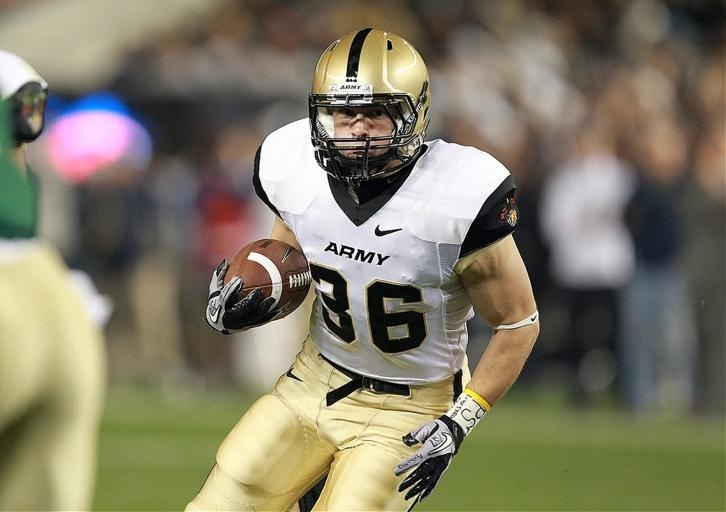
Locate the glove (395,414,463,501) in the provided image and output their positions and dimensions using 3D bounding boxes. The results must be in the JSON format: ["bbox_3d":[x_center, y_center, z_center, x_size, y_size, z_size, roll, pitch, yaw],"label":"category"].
[{"bbox_3d":[0.280,0.893,4.154,0.352,0.276,0.186,-30,52,-24],"label":"glove"}]

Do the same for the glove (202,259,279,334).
[{"bbox_3d":[-0.483,0.171,4.360,0.474,0.352,0.254,-23,82,-3],"label":"glove"}]

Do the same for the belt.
[{"bbox_3d":[0.044,0.585,4.385,0.225,0.072,0.270,11,-1,-22],"label":"belt"}]

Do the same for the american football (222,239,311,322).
[{"bbox_3d":[-0.388,0.076,4.395,0.327,0.371,0.552,-2,11,11],"label":"american football"}]
